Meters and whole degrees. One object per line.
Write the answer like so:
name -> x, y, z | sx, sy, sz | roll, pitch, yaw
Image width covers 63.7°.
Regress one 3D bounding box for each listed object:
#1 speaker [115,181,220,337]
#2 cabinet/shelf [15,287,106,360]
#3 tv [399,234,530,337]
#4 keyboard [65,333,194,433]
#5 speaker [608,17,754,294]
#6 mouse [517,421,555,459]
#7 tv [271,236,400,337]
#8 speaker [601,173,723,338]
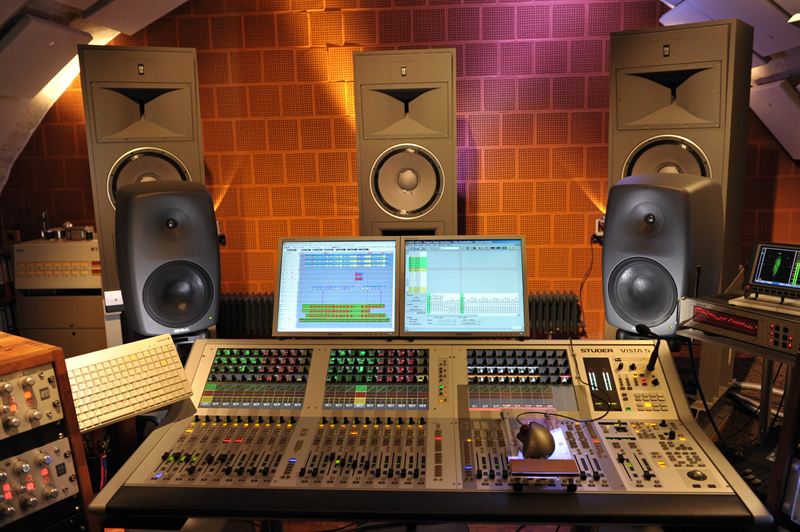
speaker -> -1.204, -0.059, 3.428 | 0.568, 0.581, 0.775 | 14, -68, 35
cabinet/shelf -> -2.122, 0.367, 4.049 | 0.476, 0.224, 0.451 | 0, -83, 2
tv -> 0.271, 0.095, 2.899 | 0.602, 0.055, 0.439 | 1, -92, -11
keyboard -> -1.104, 0.457, 2.641 | 0.432, 0.280, 0.256 | -10, -74, 3
speaker -> 1.671, -0.710, 3.958 | 0.660, 0.479, 1.464 | 6, -66, 34
mouse -> 0.509, 0.671, 2.467 | 0.169, 0.128, 0.130 | -14, -104, 44
tv -> -0.271, 0.109, 2.891 | 0.456, 0.044, 0.359 | 1, -105, 4
speaker -> 1.248, -0.051, 3.213 | 0.537, 0.535, 0.713 | -4, -77, -11
